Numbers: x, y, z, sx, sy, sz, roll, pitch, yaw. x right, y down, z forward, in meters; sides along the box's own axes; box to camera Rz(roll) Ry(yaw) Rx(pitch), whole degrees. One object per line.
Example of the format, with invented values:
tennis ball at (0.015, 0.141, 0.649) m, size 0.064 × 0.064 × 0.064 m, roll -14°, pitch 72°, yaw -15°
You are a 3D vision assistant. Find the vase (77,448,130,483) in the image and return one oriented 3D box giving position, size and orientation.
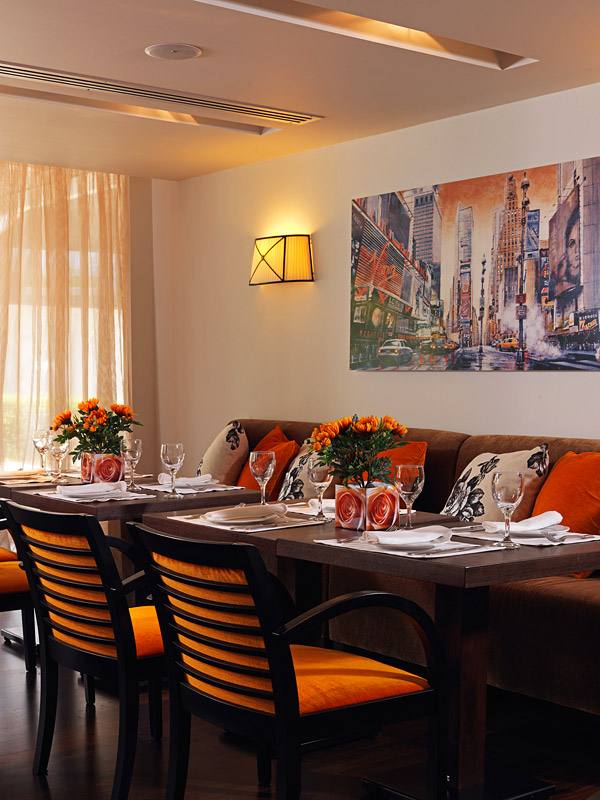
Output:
vase at (-0.861, 0.283, 2.852) m, size 0.149 × 0.138 × 0.147 m, roll 2°, pitch -1°, yaw -37°

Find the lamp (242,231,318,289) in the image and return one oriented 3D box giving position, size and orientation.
lamp at (-0.155, -0.986, 4.603) m, size 0.559 × 0.327 × 0.107 m, roll 3°, pitch 6°, yaw 35°

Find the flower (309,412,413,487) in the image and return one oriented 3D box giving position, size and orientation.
flower at (0.163, 0.128, 1.795) m, size 0.215 × 0.191 × 0.211 m, roll -2°, pitch -3°, yaw -11°

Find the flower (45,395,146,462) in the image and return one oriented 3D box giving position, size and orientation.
flower at (-0.886, 0.095, 2.999) m, size 0.260 × 0.196 × 0.224 m, roll 7°, pitch 2°, yaw -36°

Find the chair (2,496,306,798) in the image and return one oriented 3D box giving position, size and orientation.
chair at (-0.521, 0.559, 2.057) m, size 0.809 × 1.060 × 0.669 m, roll 1°, pitch -2°, yaw -41°

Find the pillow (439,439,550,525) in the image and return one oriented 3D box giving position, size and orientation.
pillow at (0.780, 0.446, 2.777) m, size 0.297 × 0.449 × 0.546 m, roll 16°, pitch -19°, yaw -24°

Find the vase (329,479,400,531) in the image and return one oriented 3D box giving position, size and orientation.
vase at (0.167, 0.264, 1.700) m, size 0.133 × 0.102 × 0.131 m, roll 1°, pitch -2°, yaw -42°

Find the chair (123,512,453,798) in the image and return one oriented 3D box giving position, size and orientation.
chair at (-0.040, 0.499, 1.276) m, size 0.458 × 0.646 × 0.490 m, roll 4°, pitch 8°, yaw 45°

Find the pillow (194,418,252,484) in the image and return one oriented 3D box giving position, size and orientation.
pillow at (-0.514, 0.368, 4.549) m, size 0.358 × 0.548 × 0.679 m, roll -7°, pitch 9°, yaw -10°
